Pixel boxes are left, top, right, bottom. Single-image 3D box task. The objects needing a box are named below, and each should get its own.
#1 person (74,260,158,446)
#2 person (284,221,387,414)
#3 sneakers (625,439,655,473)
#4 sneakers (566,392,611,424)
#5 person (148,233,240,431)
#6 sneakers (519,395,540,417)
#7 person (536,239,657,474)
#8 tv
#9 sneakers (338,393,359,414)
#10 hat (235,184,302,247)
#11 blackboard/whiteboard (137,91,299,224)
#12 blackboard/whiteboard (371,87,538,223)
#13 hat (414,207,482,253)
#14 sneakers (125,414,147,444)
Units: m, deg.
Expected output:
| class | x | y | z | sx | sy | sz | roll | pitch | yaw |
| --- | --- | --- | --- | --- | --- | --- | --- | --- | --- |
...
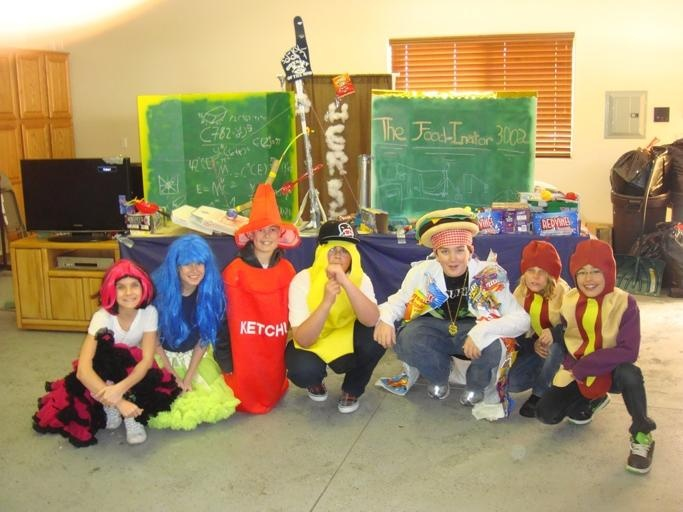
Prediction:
| class | x | y | z | sx | sy | sz | roll | pitch | yaw |
| --- | --- | --- | --- | --- | --- | --- | --- | --- | --- |
| person | -1.144 | 0.473 | 2.777 | 0.360 | 0.892 | 0.335 | 0 | 10 | 12 |
| person | -0.036 | 0.334 | 2.946 | 0.534 | 1.027 | 0.392 | -2 | 10 | 2 |
| sneakers | 1.368 | 0.906 | 2.501 | 0.068 | 0.083 | 0.203 | -2 | 1 | 28 |
| sneakers | 1.241 | 0.770 | 2.790 | 0.233 | 0.107 | 0.091 | -34 | 28 | -24 |
| person | -0.807 | 0.389 | 2.876 | 0.452 | 0.987 | 0.330 | -6 | 11 | -20 |
| sneakers | 1.001 | 0.802 | 2.927 | 0.058 | 0.071 | 0.166 | -2 | 14 | 40 |
| person | 1.231 | 0.436 | 2.627 | 0.507 | 1.004 | 0.352 | 5 | 12 | 34 |
| tv | -2.019 | -0.444 | 4.227 | 0.632 | 0.449 | 0.170 | 1 | 8 | 0 |
| sneakers | 0.031 | 0.804 | 2.980 | 0.060 | 0.066 | 0.141 | -2 | -12 | 12 |
| hat | -0.364 | -0.231 | 3.088 | 0.389 | 0.326 | 0.308 | -6 | 10 | -41 |
| blackboard/whiteboard | -1.069 | -0.855 | 4.668 | 1.298 | 1.104 | 0.058 | -2 | 14 | -6 |
| blackboard/whiteboard | 0.921 | -0.831 | 4.464 | 1.221 | 1.046 | 0.060 | 0 | 7 | 3 |
| hat | 0.570 | -0.146 | 3.015 | 0.256 | 0.142 | 0.271 | -9 | -1 | -3 |
| sneakers | -1.022 | 0.873 | 2.738 | 0.062 | 0.073 | 0.184 | -3 | -1 | -31 |
